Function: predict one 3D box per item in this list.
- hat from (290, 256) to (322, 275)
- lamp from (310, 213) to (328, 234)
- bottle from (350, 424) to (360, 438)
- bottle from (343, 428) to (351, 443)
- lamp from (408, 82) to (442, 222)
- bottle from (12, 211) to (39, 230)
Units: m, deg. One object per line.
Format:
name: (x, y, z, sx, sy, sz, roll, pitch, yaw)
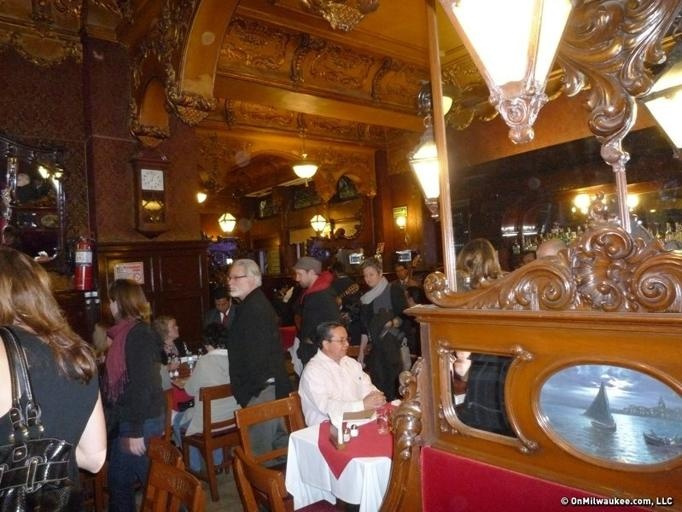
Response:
hat: (-0.353, 0.114, 5.261, 0.233, 0.126, 0.173, 9, -4, 9)
lamp: (-0.609, -0.812, 12.835, 0.485, 0.722, 0.502, 1, -3, 22)
bottle: (0.096, 1.191, 3.288, 0.052, 0.074, 0.072, 1, -12, 1)
bottle: (0.040, 1.172, 3.162, 0.057, 0.066, 0.069, 2, 2, 5)
lamp: (0.410, -0.510, 2.413, 0.091, 0.687, 0.294, -4, -4, 0)
bottle: (-3.740, -0.439, 5.928, 0.344, 0.201, 0.335, 9, 12, -2)
